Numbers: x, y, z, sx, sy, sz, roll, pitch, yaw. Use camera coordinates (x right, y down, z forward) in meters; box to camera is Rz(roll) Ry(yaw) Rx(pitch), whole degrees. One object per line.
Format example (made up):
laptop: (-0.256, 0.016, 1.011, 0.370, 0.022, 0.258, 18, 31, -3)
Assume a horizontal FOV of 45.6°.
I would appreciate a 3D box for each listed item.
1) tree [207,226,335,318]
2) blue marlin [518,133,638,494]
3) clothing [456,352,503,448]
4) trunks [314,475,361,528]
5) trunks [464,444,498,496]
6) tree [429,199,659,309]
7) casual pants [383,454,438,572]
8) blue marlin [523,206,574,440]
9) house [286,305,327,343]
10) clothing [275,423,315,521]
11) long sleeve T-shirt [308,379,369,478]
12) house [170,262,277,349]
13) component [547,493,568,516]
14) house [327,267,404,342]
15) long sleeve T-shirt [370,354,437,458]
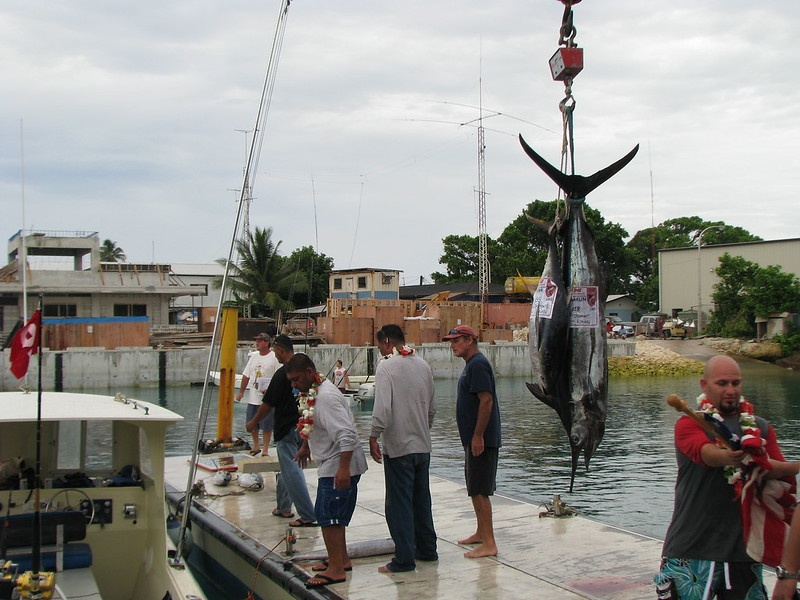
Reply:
tree: (-5.085, -0.698, 36.944, 4.567, 3.802, 4.693, 1, 6, 41)
blue marlin: (1.297, 0.213, 7.268, 0.708, 2.559, 0.504, 2, -2, 5)
clothing: (0.696, 0.913, 8.638, 0.380, 0.869, 0.428, 2, -2, 19)
trunks: (-0.547, 1.689, 8.224, 0.407, 0.640, 0.510, 2, -9, 1)
trunks: (0.717, 1.573, 8.617, 0.284, 0.462, 0.234, 2, -2, 3)
tree: (8.909, -2.823, 58.328, 11.161, 4.431, 8.263, -2, 0, 6)
casual pants: (0.079, 1.881, 8.523, 0.322, 1.045, 0.584, 1, -2, 34)
blue marlin: (1.145, 0.161, 7.283, 0.384, 1.590, 0.322, 2, -1, -33)
house: (-3.867, 0.980, 38.323, 2.070, 1.554, 3.385, 0, 3, -8)
clothing: (-1.115, 1.701, 9.578, 0.285, 0.982, 0.462, -1, -2, -39)
long sleeve T-shirt: (-0.586, 1.118, 8.258, 0.554, 0.833, 0.350, 1, -2, 30)
house: (-6.618, 0.227, 35.145, 4.277, 2.738, 2.221, 1, 6, 2)
component: (1.670, 2.168, 9.993, 0.221, 0.195, 0.242, 2, -2, 9)
house: (-1.359, 0.162, 36.527, 2.614, 3.479, 3.409, 2, -3, -44)
long sleeve T-shirt: (0.024, 0.943, 8.477, 0.614, 0.910, 0.320, 3, -2, -12)
